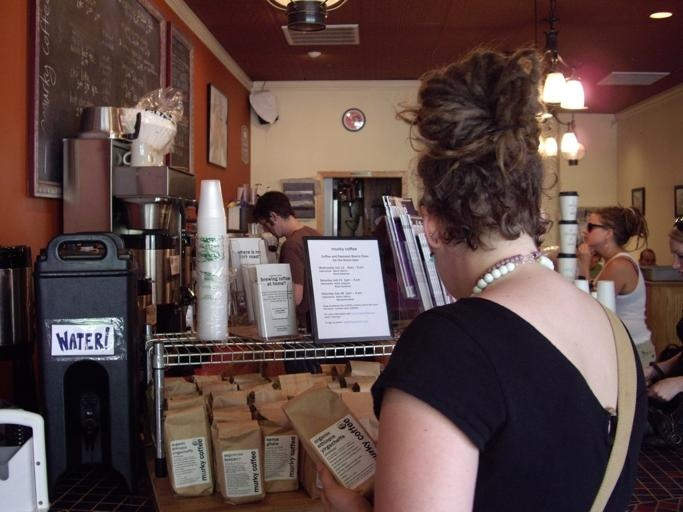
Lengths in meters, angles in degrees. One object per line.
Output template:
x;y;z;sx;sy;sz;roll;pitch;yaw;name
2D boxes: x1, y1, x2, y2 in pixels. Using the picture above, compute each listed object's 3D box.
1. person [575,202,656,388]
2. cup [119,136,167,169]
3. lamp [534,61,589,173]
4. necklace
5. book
1.729;0.439;3.614;0.450;1.496;0.448;2;8;31;person
-0.881;-0.456;2.563;0.177;0.181;0.118;0;-2;13;cup
1.484;-1.017;3.901;0.400;0.693;0.400;-13;14;-42;lamp
0.314;0.026;1.025;0.113;0.042;0.083;-28;-27;11;necklace
0.195;0.005;1.647;0.091;0.326;0.228;-13;-1;11;book
